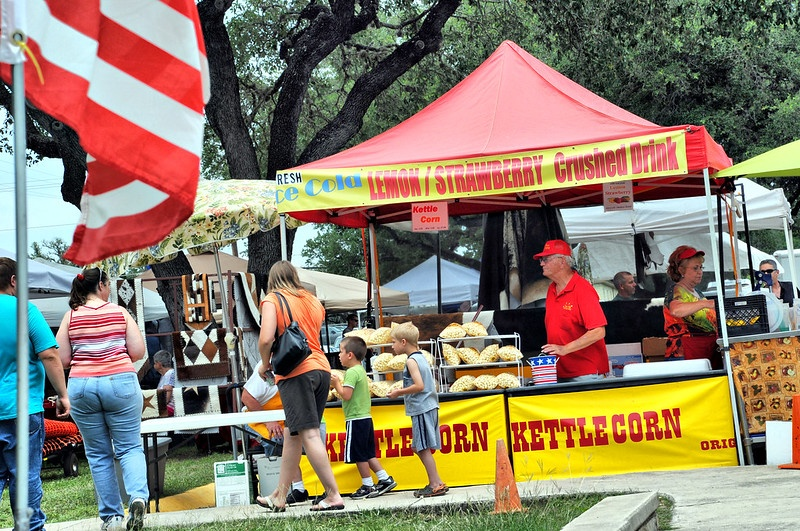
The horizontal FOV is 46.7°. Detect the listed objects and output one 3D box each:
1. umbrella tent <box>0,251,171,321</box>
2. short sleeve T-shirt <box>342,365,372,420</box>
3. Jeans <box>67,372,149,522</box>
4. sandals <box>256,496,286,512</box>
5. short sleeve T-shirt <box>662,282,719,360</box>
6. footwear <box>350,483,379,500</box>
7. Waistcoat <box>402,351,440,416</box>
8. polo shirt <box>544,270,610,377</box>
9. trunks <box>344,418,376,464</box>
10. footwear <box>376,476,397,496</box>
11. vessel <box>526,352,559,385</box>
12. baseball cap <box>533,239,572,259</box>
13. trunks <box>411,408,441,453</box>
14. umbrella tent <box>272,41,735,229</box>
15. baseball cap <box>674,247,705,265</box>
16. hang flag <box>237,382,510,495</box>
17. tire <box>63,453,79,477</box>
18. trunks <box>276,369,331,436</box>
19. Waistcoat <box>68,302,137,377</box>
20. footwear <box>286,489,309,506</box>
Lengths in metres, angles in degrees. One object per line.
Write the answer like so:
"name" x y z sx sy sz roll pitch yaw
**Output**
"umbrella tent" -4.296 0.262 12.746 1.272 0.580 1.309 2 -10 0
"short sleeve T-shirt" -0.506 1.451 10.547 0.357 0.700 0.644 0 -6 16
"Jeans" -2.976 1.782 9.567 0.673 1.728 0.552 -6 3 -7
"sandals" -1.394 2.596 10.120 0.255 0.098 0.152 16 -2 -3
"short sleeve T-shirt" 3.702 0.720 11.807 0.809 1.055 0.568 -1 -4 -32
"footwear" -0.400 2.568 10.639 0.341 0.166 0.133 -1 -5 7
"Waistcoat" 0.212 1.318 10.452 0.363 0.716 0.318 -5 -5 -1
"polo shirt" 2.118 0.743 11.421 0.703 1.332 1.205 0 -3 -22
"trunks" -0.456 1.969 10.523 0.412 0.509 0.218 -3 -6 -25
"footwear" -0.177 2.502 10.655 0.312 0.137 0.114 -27 2 -12
"vessel" 1.663 1.207 10.996 0.329 0.259 0.317 -2 1 17
"baseball cap" 1.904 -0.210 11.449 0.347 0.186 0.236 -2 -5 -9
"trunks" 0.281 1.850 10.505 0.339 0.478 0.262 -5 -5 -8
"umbrella tent" 1.539 -1.421 12.282 4.101 1.626 3.242 -5 -5 20
"baseball cap" 3.525 -0.134 11.428 0.189 0.099 0.268 5 -11 -44
"hang flag" 0.101 2.178 11.237 2.426 1.119 0.228 -9 -23 24
"tire" -5.315 3.212 15.025 0.115 0.350 0.341 -5 -12 14
"trunks" -1.077 1.489 10.071 0.611 0.790 0.635 6 -13 -30
"Waistcoat" -3.104 0.755 9.624 0.594 0.750 0.400 -6 4 -21
"footwear" -1.147 2.603 10.538 0.279 0.129 0.099 7 -10 -43
